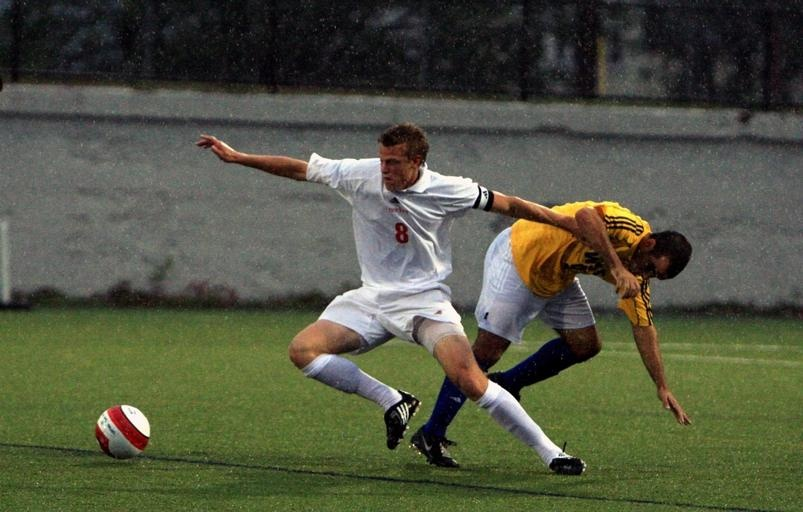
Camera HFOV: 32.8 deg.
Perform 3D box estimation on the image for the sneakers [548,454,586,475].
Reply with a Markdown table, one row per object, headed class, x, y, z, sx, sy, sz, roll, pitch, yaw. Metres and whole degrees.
| class | x | y | z | sx | sy | sz | roll | pitch | yaw |
| --- | --- | --- | --- | --- | --- | --- | --- | --- | --- |
| sneakers | 1.641 | 2.080 | 13.666 | 0.288 | 0.113 | 0.206 | 5 | -4 | -10 |
